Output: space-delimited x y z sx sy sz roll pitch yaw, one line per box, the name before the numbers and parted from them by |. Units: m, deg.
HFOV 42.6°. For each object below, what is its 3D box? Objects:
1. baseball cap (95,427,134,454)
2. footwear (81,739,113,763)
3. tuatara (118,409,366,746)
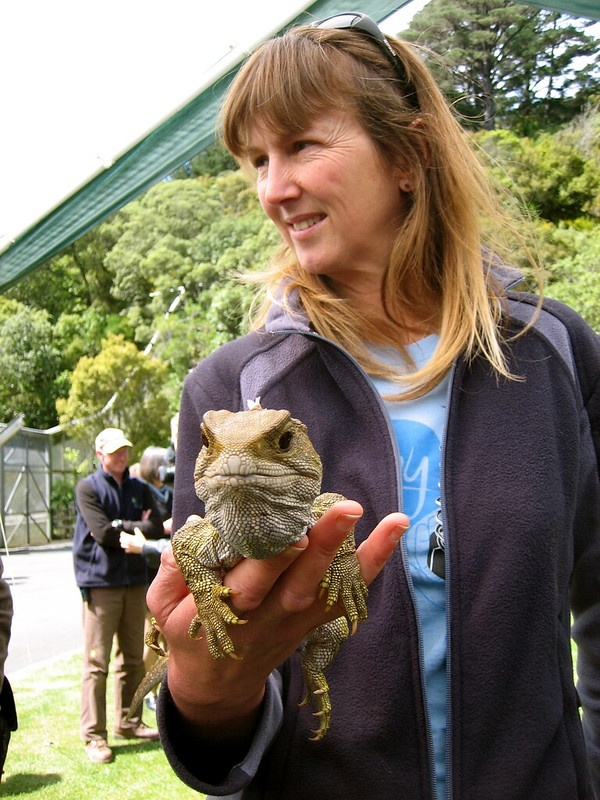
baseball cap | -1.627 0.360 6.653 0.221 0.159 0.305 -4 -11 -28
footwear | -1.550 2.714 5.911 0.103 0.097 0.258 9 -15 -31
tuatara | -0.062 0.396 1.587 0.408 0.771 0.479 2 -2 -10
